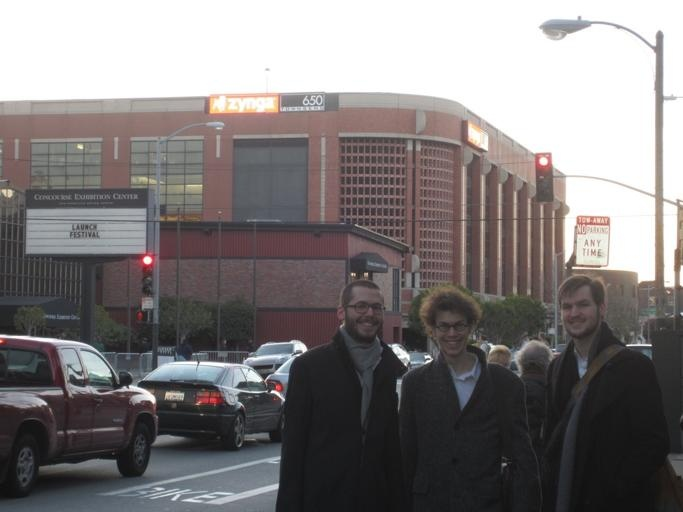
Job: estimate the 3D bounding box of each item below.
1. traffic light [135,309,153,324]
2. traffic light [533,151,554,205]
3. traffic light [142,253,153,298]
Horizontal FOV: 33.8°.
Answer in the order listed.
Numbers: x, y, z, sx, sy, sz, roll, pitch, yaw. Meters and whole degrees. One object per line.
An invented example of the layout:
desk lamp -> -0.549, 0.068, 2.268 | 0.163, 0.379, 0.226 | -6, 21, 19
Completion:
traffic light -> -6.424, 1.946, 36.561 | 0.370, 0.382, 0.883 | -2, -6, 24
traffic light -> 4.857, -1.848, 26.903 | 0.449, 1.313, 0.223 | -1, -22, 10
traffic light -> -6.319, 0.583, 36.793 | 0.309, 1.422, 1.207 | 1, -5, -12
